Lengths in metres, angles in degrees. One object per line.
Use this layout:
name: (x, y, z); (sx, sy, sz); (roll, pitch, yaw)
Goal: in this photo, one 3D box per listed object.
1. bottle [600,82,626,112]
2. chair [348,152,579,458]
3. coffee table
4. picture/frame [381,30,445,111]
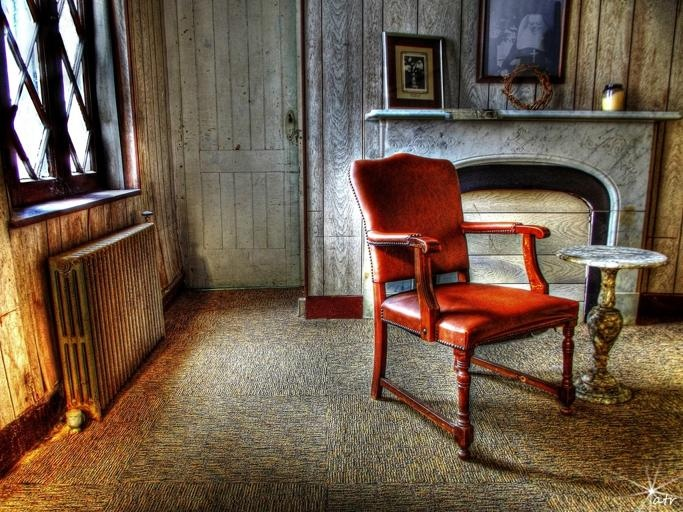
bottle: (1.696, -0.979, 3.217); (0.133, 0.166, 0.275); (6, 17, 25)
chair: (0.542, 0.134, 2.451); (0.788, 1.182, 0.849); (-11, 19, -27)
coffee table: (1.451, 0.382, 2.837); (0.593, 0.803, 0.610); (-15, 19, -33)
picture/frame: (0.435, -1.148, 3.206); (0.588, 0.540, 0.059); (0, 1, -9)
